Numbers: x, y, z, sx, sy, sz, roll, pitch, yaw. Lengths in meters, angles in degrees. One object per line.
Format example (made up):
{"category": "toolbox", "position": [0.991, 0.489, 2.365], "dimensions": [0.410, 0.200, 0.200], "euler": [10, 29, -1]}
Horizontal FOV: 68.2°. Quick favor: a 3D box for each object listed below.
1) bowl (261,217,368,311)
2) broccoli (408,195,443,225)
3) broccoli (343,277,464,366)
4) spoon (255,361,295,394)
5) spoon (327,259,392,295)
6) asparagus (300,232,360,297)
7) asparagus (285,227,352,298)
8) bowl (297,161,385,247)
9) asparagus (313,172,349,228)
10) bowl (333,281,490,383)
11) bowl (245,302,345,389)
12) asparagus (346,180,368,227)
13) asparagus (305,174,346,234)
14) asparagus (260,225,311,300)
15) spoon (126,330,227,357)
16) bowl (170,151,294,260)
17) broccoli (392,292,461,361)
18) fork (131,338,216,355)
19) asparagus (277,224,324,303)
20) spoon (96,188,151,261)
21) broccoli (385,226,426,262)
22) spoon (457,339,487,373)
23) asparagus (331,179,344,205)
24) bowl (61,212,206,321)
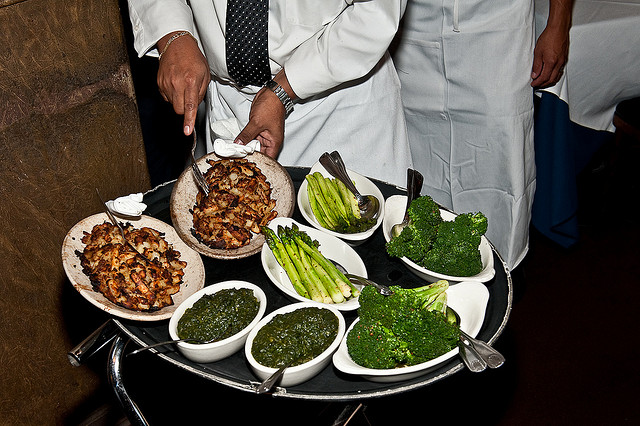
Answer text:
{"category": "bowl", "position": [0.016, 0.198, 2.203], "dimensions": [0.313, 0.099, 0.439], "euler": [-30, 67, -33]}
{"category": "broccoli", "position": [0.487, 0.012, 2.176], "dimensions": [0.121, 0.059, 0.131], "euler": [-36, 80, -16]}
{"category": "broccoli", "position": [0.324, 0.427, 1.877], "dimensions": [0.316, 0.195, 0.378], "euler": [34, 67, 24]}
{"category": "spoon", "position": [-0.165, 0.609, 1.815], "dimensions": [0.038, 0.036, 0.296], "euler": [1, 19, 18]}
{"category": "spoon", "position": [0.179, 0.287, 2.097], "dimensions": [0.042, 0.038, 0.250], "euler": [-32, 45, -32]}
{"category": "asparagus", "position": [0.049, 0.241, 2.141], "dimensions": [0.047, 0.059, 0.325], "euler": [-13, 55, -43]}
{"category": "asparagus", "position": [-0.024, 0.189, 2.184], "dimensions": [0.067, 0.060, 0.418], "euler": [-10, 42, -37]}
{"category": "bowl", "position": [0.163, 0.021, 2.311], "dimensions": [0.396, 0.522, 0.206], "euler": [24, 88, 35]}
{"category": "asparagus", "position": [0.037, -0.090, 2.443], "dimensions": [0.083, 0.057, 0.395], "euler": [0, 60, -50]}
{"category": "bowl", "position": [0.416, 0.521, 1.869], "dimensions": [0.562, 0.108, 0.355], "euler": [-28, 48, -22]}
{"category": "bowl", "position": [-0.102, 0.583, 2.012], "dimensions": [0.415, 0.215, 0.441], "euler": [-12, 11, 2]}
{"category": "asparagus", "position": [0.184, -0.035, 2.380], "dimensions": [0.049, 0.040, 0.253], "euler": [-17, 80, -17]}
{"category": "asparagus", "position": [0.030, -0.070, 2.387], "dimensions": [0.102, 0.066, 0.400], "euler": [-20, 71, -8]}
{"category": "asparagus", "position": [-0.151, 0.235, 2.143], "dimensions": [0.036, 0.033, 0.325], "euler": [-28, 87, -51]}
{"category": "spoon", "position": [-0.553, 0.521, 1.907], "dimensions": [0.462, 0.073, 0.074], "euler": [-8, 91, -4]}
{"category": "bowl", "position": [-0.509, -0.085, 2.430], "dimensions": [0.494, 0.141, 0.557], "euler": [30, 74, 1]}
{"category": "broccoli", "position": [0.473, 0.470, 1.896], "dimensions": [0.092, 0.329, 0.207], "euler": [25, 22, 34]}
{"category": "fork", "position": [-0.563, 0.528, 1.890], "dimensions": [0.289, 0.046, 0.044], "euler": [-8, 12, -9]}
{"category": "asparagus", "position": [-0.089, 0.241, 2.141], "dimensions": [0.041, 0.051, 0.337], "euler": [-29, 73, 17]}
{"category": "spoon", "position": [-0.911, 0.065, 2.233], "dimensions": [0.382, 0.041, 0.051], "euler": [56, 23, 8]}
{"category": "broccoli", "position": [0.383, 0.148, 2.043], "dimensions": [0.122, 0.063, 0.151], "euler": [-4, 73, 1]}
{"category": "spoon", "position": [0.570, 0.546, 1.808], "dimensions": [0.067, 0.046, 0.130], "euler": [-28, 49, -22]}
{"category": "asparagus", "position": [0.094, -0.109, 2.386], "dimensions": [0.023, 0.020, 0.136], "euler": [-15, 75, -12]}
{"category": "bowl", "position": [-0.871, 0.259, 2.170], "dimensions": [0.486, 0.125, 0.541], "euler": [16, 41, -40]}
